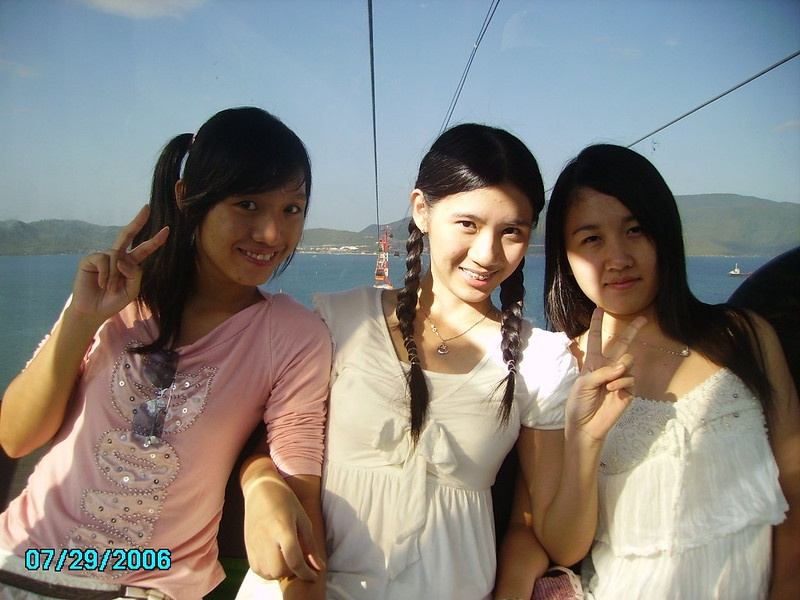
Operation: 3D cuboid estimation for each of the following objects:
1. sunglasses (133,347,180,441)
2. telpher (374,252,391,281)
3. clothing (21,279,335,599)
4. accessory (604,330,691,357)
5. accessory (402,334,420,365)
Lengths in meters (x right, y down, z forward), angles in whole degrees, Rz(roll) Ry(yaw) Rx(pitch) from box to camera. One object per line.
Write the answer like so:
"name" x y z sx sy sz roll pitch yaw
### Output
"sunglasses" -0.926 0.358 2.347 0.124 0.330 0.049 7 -26 -13
"telpher" -0.455 -0.904 16.880 0.427 0.553 1.454 2 18 1
"clothing" -0.881 0.548 2.453 1.128 1.130 0.426 7 4 0
"accessory" 1.076 0.187 2.645 0.243 0.052 0.059 14 29 33
"accessory" 0.050 0.210 2.639 0.041 0.049 0.150 5 42 -14
